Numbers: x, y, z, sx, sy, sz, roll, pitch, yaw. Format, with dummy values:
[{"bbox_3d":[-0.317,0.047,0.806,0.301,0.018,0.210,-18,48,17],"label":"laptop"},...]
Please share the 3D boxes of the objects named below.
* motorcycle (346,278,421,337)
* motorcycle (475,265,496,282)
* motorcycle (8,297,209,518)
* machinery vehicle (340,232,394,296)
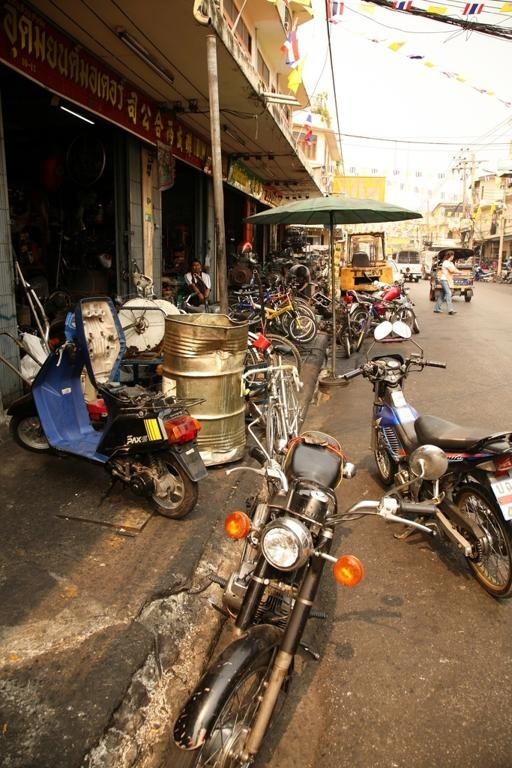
[{"bbox_3d":[2.807,-1.664,10.530,1.016,1.359,2.260,15,20,41],"label":"motorcycle"},{"bbox_3d":[17.568,-8.352,37.736,1.524,1.017,2.021,11,10,23],"label":"motorcycle"},{"bbox_3d":[-0.993,0.102,3.512,1.725,1.359,0.580,12,11,29],"label":"motorcycle"},{"bbox_3d":[3.220,-3.471,14.542,1.553,1.905,3.355,1,22,5],"label":"machinery vehicle"}]
